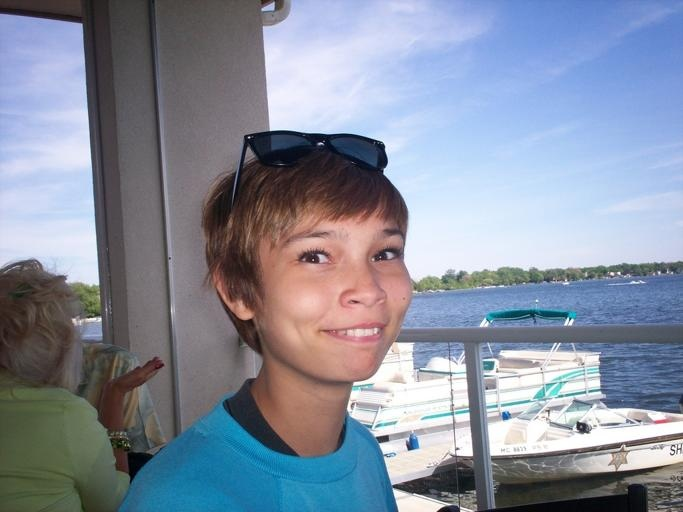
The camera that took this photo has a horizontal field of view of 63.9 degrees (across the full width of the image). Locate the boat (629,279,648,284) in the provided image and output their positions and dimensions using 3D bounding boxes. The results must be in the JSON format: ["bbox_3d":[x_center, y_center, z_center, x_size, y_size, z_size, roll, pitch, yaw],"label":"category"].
[{"bbox_3d":[18.739,1.661,34.729,0.893,0.275,0.660,8,15,31],"label":"boat"}]

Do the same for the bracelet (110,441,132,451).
[{"bbox_3d":[-0.768,0.654,1.901,0.062,0.022,0.068,9,-7,-28],"label":"bracelet"}]
